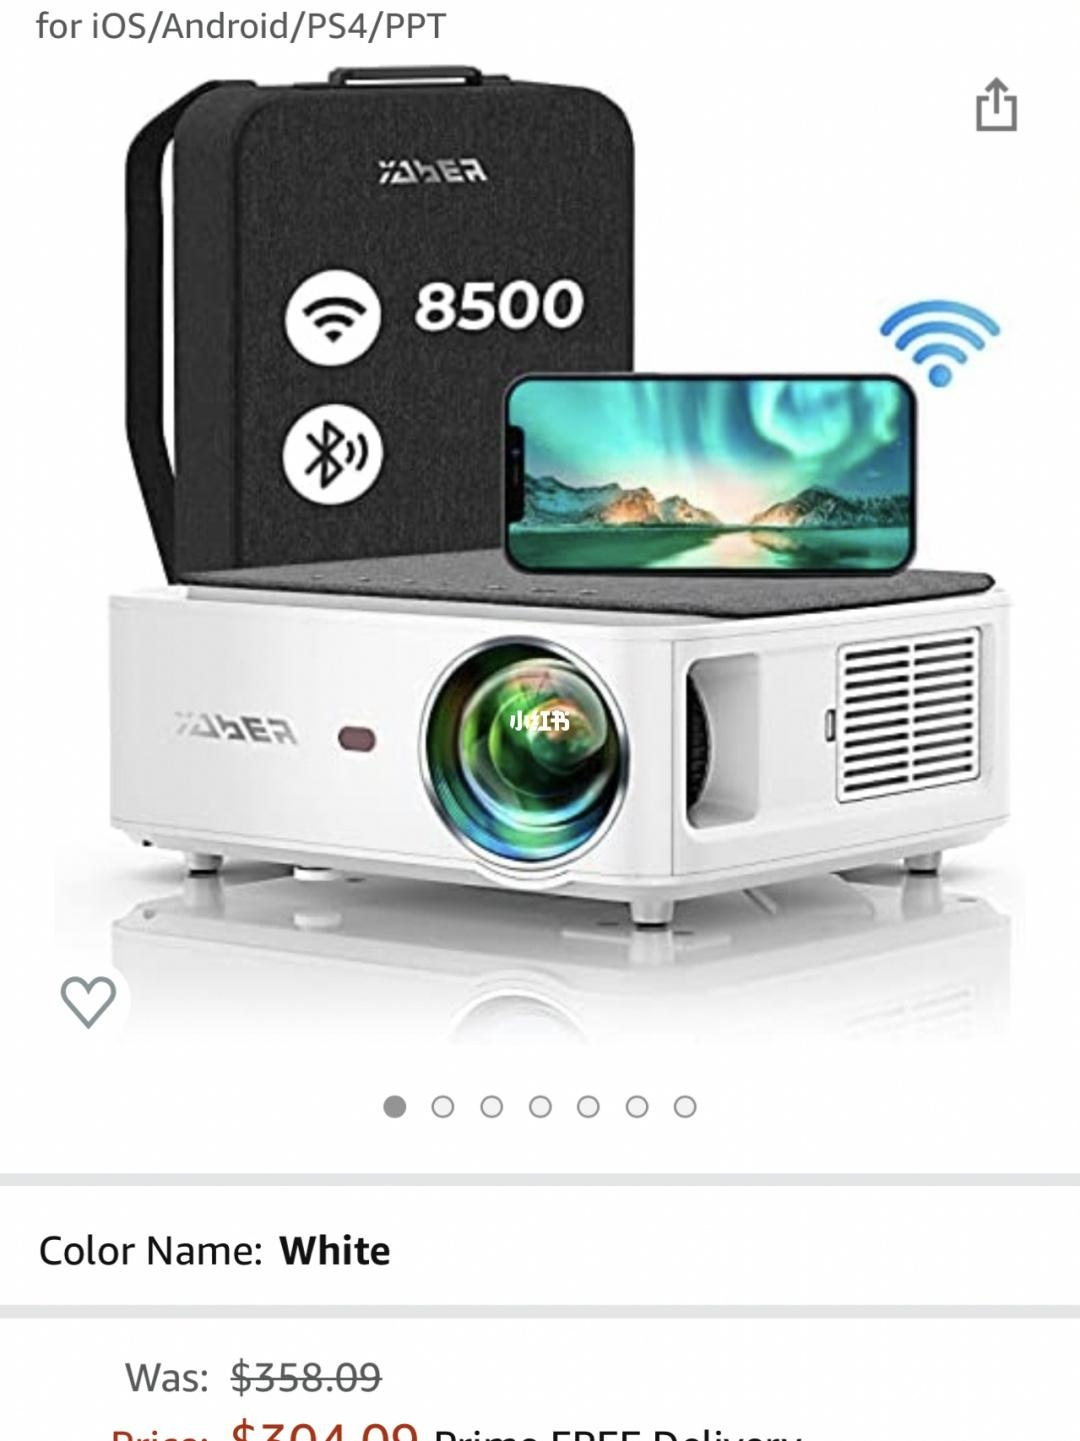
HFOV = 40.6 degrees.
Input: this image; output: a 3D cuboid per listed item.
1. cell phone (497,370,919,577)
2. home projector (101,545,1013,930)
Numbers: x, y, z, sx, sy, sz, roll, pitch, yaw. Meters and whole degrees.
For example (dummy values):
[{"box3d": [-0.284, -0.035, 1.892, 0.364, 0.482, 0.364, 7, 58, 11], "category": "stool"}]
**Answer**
[{"box3d": [0.181, -0.276, 1.607, 0.392, 0.185, 0.037, 0, 7, 4], "category": "cell phone"}, {"box3d": [0.023, -0.027, 1.942, 0.991, 0.355, 0.917, 3, 11, 22], "category": "home projector"}]
